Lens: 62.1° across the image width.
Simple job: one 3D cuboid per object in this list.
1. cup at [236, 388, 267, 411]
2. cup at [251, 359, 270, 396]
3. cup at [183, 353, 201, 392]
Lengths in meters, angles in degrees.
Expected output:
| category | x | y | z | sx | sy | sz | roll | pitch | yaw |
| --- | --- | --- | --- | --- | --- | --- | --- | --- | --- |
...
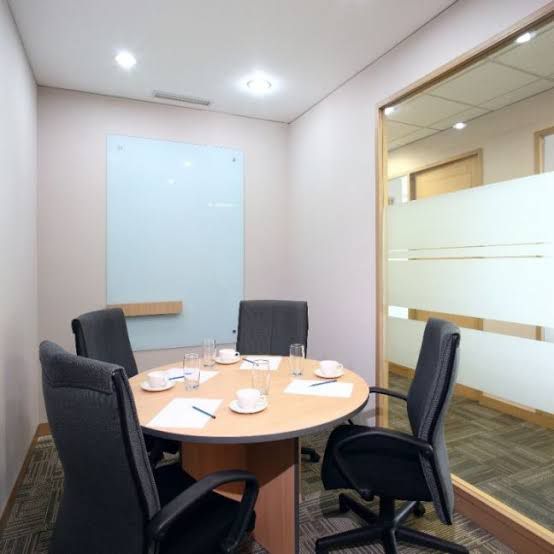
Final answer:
| category | x | y | z | sx | sy | sz | roll | pitch | yaw |
| --- | --- | --- | --- | --- | --- | --- | --- | --- | --- |
| cup | -0.111 | 0.543 | 2.055 | 0.095 | 0.055 | 0.083 | 3 | -2 | -8 |
| cup | -0.073 | 0.483 | 2.233 | 0.112 | 0.169 | 0.126 | 0 | 8 | -10 |
| cup | -0.431 | 0.479 | 2.331 | 0.106 | 0.175 | 0.121 | 1 | -4 | -5 |
